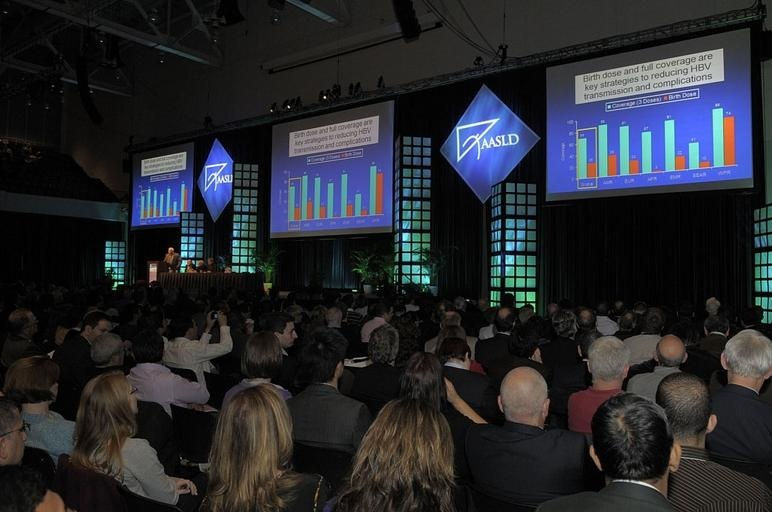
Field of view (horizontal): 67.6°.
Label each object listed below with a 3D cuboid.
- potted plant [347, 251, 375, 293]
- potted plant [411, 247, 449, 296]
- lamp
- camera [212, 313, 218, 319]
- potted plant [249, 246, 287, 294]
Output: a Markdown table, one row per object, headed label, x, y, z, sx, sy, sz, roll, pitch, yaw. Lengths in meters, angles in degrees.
| label | x | y | z | sx | sy | sz | roll | pitch | yaw |
| --- | --- | --- | --- | --- | --- | --- | --- | --- | --- |
| potted plant | -0.501 | 0.439 | 15.383 | 0.696 | 1.142 | 0.937 | 6 | 12 | 35 |
| potted plant | 1.092 | 0.415 | 14.450 | 0.912 | 1.289 | 1.202 | 0 | -2 | 3 |
| lamp | -1.688 | -4.555 | 16.679 | 3.506 | 0.588 | 0.610 | -12 | 13 | 3 |
| camera | -1.816 | 0.635 | 6.105 | 0.039 | 0.071 | 0.074 | -6 | -6 | 10 |
| potted plant | -3.822 | 0.404 | 18.709 | 1.352 | 1.781 | 1.356 | -2 | -5 | 26 |
